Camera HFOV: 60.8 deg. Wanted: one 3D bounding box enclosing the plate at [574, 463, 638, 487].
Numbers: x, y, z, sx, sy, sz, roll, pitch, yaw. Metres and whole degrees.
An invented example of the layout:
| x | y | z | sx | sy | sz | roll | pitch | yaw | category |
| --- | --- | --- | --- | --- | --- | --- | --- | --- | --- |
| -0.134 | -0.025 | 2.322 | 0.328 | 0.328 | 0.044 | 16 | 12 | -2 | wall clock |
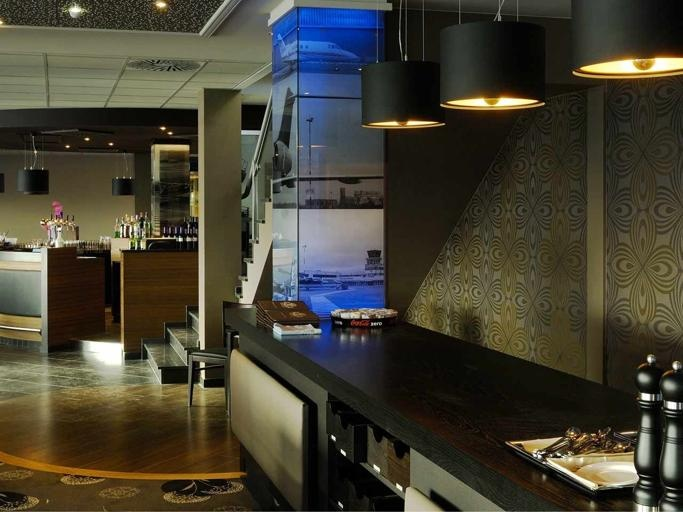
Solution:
| x | y | z | sx | sy | sz | roll | pitch | yaw | category |
| --- | --- | --- | --- | --- | --- | --- | --- | --- | --- |
| 0.734 | 0.593 | 1.597 | 0.167 | 0.024 | 0.096 | 1 | 2 | 1 | plate |

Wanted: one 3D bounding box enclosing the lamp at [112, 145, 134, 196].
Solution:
| x | y | z | sx | sy | sz | roll | pitch | yaw | category |
| --- | --- | --- | --- | --- | --- | --- | --- | --- | --- |
| -6.195 | -2.320 | 16.451 | 0.517 | 1.338 | 3.727 | 0 | 3 | -22 | lamp |

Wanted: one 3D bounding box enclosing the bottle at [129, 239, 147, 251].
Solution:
| x | y | z | sx | sy | sz | roll | pitch | yaw | category |
| --- | --- | --- | --- | --- | --- | --- | --- | --- | --- |
| -3.210 | -0.165 | 9.160 | 0.169 | 0.174 | 0.179 | 1 | 0 | 14 | bottle |
